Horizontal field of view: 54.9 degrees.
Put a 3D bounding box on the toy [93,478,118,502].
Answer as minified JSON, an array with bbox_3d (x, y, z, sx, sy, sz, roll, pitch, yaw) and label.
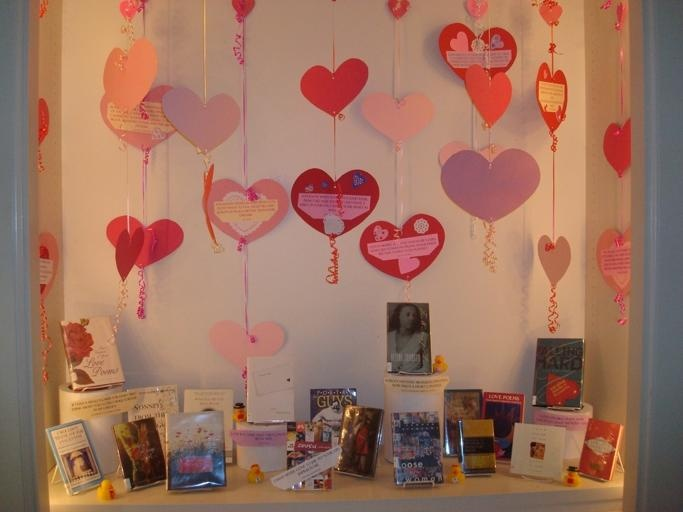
[{"bbox_3d":[-0.959,0.935,2.646,0.110,0.077,0.062,-3,-2,34],"label":"toy"}]

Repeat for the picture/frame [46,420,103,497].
[{"bbox_3d":[-1.083,0.825,2.671,0.188,0.353,0.033,-18,-8,-36],"label":"picture/frame"}]
